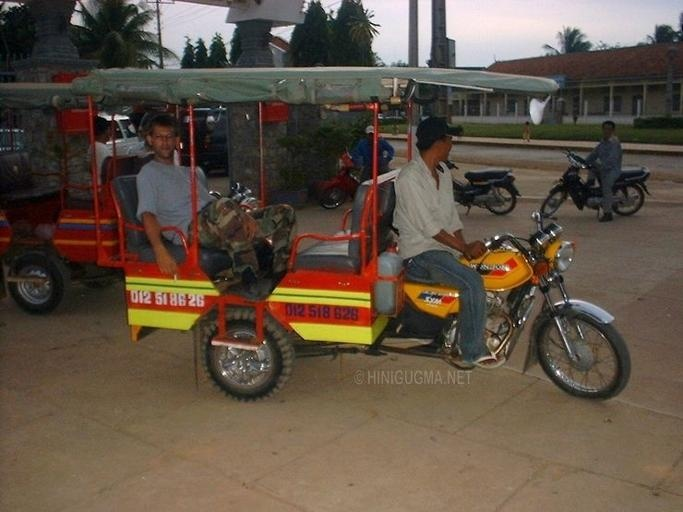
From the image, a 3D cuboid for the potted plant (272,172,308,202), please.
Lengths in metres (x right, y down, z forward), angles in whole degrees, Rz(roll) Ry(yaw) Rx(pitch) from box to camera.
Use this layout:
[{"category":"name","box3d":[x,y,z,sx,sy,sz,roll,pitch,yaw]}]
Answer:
[{"category":"potted plant","box3d":[-1.261,-1.626,14.082,0.634,0.681,0.702,5,7,39]}]

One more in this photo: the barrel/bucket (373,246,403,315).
[{"category":"barrel/bucket","box3d":[0.373,0.231,4.789,0.185,0.454,0.267,4,16,13]}]

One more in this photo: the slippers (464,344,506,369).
[{"category":"slippers","box3d":[1.190,0.822,4.738,0.285,0.083,0.175,1,1,-38]}]

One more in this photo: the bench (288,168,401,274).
[{"category":"bench","box3d":[0.055,-0.322,5.041,0.650,0.707,0.987,6,16,20]}]

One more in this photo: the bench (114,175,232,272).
[{"category":"bench","box3d":[-1.610,-0.231,5.637,1.191,0.918,0.769,5,-10,-14]}]

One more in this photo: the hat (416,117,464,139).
[{"category":"hat","box3d":[0.852,-1.085,4.948,0.385,0.149,0.242,-5,16,-23]}]
